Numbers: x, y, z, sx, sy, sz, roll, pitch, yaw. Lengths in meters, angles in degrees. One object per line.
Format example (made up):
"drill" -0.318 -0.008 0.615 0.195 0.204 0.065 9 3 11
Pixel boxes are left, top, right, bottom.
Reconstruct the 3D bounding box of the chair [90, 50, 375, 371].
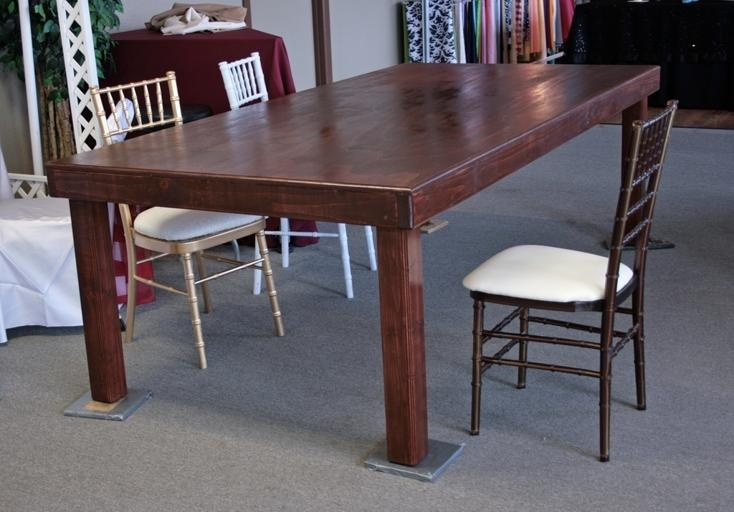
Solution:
"chair" -0.595 -0.148 2.777 0.588 1.107 1.548 8 18 25

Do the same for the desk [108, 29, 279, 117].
"desk" -1.033 -1.198 3.849 0.953 0.449 0.661 5 39 9
